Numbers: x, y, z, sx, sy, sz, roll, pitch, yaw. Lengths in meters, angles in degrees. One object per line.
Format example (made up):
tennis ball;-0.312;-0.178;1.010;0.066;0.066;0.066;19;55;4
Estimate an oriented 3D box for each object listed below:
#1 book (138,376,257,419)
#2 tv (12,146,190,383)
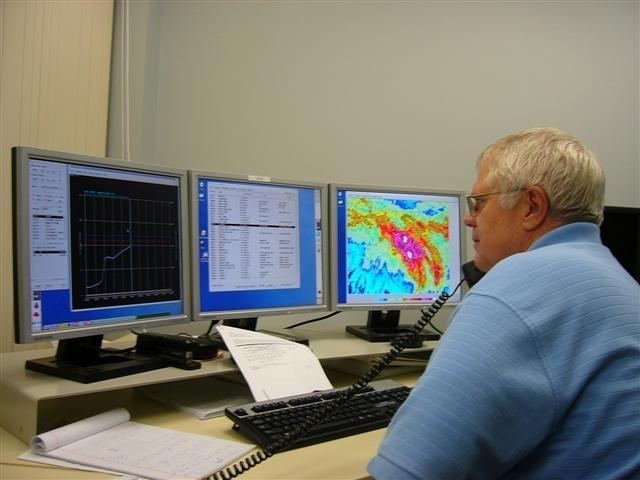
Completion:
book;-0.322;0.438;1.558;0.178;0.014;0.159;5;5;36
tv;-0.582;0.004;1.516;0.095;0.487;0.489;0;3;41
